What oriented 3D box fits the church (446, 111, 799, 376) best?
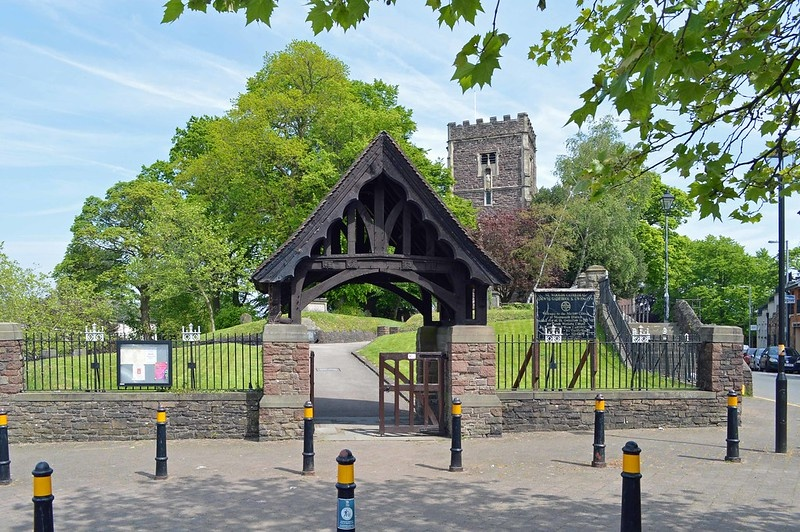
[{"bbox_3d":[17.369,-3.238,68.545,26.128,15.217,25.080,1,-4,6],"label":"church"}]
